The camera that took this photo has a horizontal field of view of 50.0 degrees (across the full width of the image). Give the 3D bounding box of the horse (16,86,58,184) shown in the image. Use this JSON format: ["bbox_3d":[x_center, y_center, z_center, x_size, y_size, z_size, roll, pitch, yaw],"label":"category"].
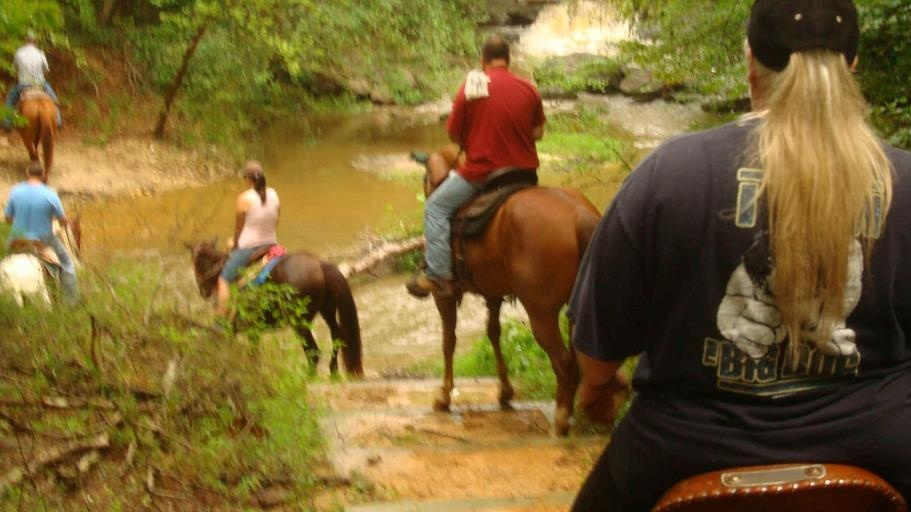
[{"bbox_3d":[-6.081,-1.723,13.972,0.494,1.415,2.049,0,10,-32],"label":"horse"}]

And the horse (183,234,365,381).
[{"bbox_3d":[-2.097,0.612,11.092,2.381,1.520,0.725,-3,2,31],"label":"horse"}]

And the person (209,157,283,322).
[{"bbox_3d":[-2.244,-0.226,10.365,0.702,1.531,0.526,-3,12,-10],"label":"person"}]
